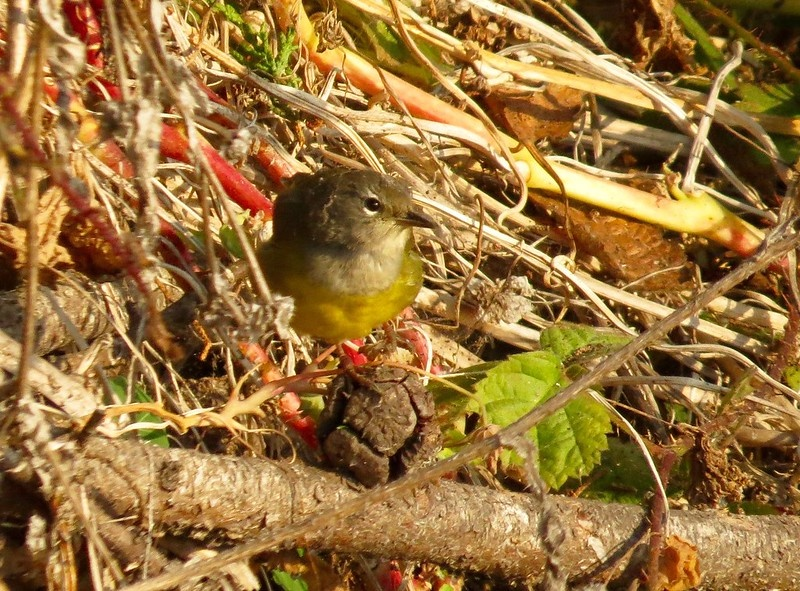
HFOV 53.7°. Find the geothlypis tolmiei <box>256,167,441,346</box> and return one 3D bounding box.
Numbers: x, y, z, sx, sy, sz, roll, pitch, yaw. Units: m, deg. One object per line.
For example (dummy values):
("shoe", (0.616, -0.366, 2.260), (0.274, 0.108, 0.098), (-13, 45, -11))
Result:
("geothlypis tolmiei", (-0.247, -0.167, 3.492), (0.873, 0.731, 1.408), (0, 20, 3))
